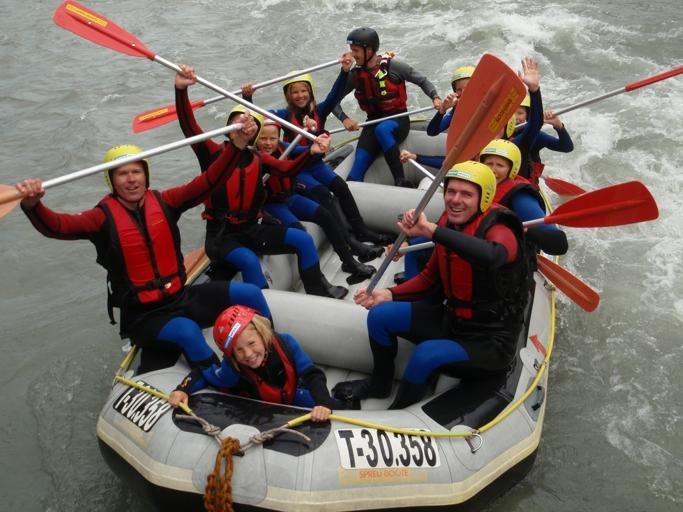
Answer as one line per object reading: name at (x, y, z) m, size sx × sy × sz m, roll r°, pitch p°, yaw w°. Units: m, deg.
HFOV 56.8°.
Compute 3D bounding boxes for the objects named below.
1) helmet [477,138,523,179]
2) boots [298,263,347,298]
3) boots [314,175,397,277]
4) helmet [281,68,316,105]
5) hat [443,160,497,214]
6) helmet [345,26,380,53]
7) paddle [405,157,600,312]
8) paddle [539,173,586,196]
helmet at (1.198, -0.761, 4.843) m, size 0.279 × 0.282 × 0.369 m, roll -6°, pitch -8°, yaw 35°
boots at (-0.203, 0.157, 5.355) m, size 0.435 × 0.402 × 0.201 m, roll -9°, pitch 51°, yaw -1°
boots at (0.121, -0.255, 5.818) m, size 0.802 × 0.881 × 0.405 m, roll -11°, pitch 39°, yaw 39°
helmet at (-0.366, -1.598, 5.861) m, size 0.259 × 0.347 × 0.331 m, roll 1°, pitch 7°, yaw 1°
hat at (0.861, -0.450, 4.114) m, size 0.266 × 0.357 × 0.316 m, roll 13°, pitch 77°, yaw 51°
helmet at (0.224, -2.148, 6.301) m, size 0.276 × 0.210 × 0.212 m, roll -24°, pitch 39°, yaw 1°
paddle at (1.427, -0.039, 4.958) m, size 1.300 × 0.054 × 0.188 m, roll 39°, pitch 95°, yaw 17°
paddle at (2.046, -0.688, 6.063) m, size 0.098 × 0.169 × 0.641 m, roll 2°, pitch 14°, yaw -33°
